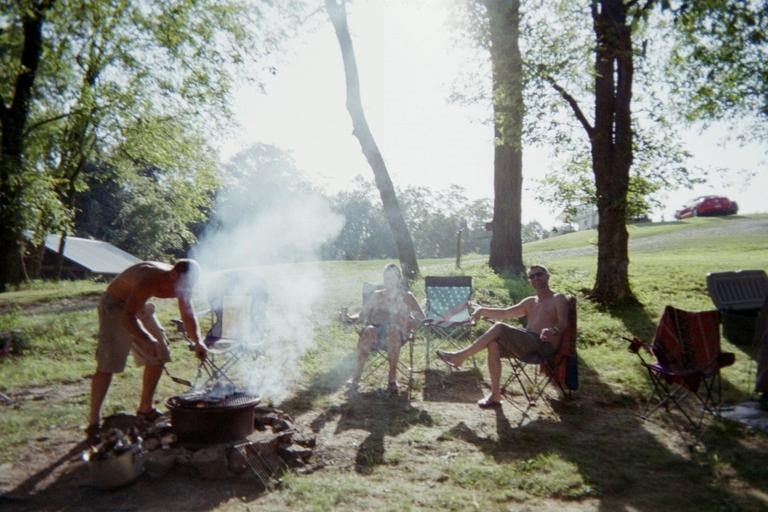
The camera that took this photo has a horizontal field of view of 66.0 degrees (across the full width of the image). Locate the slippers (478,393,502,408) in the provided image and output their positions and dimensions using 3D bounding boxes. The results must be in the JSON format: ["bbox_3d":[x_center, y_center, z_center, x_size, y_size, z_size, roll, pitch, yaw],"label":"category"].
[{"bbox_3d":[1.750,2.445,9.931,0.318,0.147,0.191,2,-6,-5],"label":"slippers"}]

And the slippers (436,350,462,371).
[{"bbox_3d":[1.145,1.887,10.590,0.560,0.230,0.207,34,-4,7],"label":"slippers"}]

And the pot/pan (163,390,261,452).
[{"bbox_3d":[-2.491,2.373,8.688,1.304,0.714,0.469,-4,-1,-8],"label":"pot/pan"}]

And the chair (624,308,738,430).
[{"bbox_3d":[4.864,1.723,9.601,1.258,1.998,1.344,-5,-1,26],"label":"chair"}]

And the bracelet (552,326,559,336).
[{"bbox_3d":[2.773,1.215,9.670,0.079,0.116,0.104,5,-15,-12],"label":"bracelet"}]

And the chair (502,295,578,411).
[{"bbox_3d":[2.743,1.456,10.270,1.163,2.218,0.974,0,0,-30],"label":"chair"}]

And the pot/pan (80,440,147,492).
[{"bbox_3d":[-3.643,2.907,8.224,0.555,0.512,0.963,1,-3,19],"label":"pot/pan"}]
